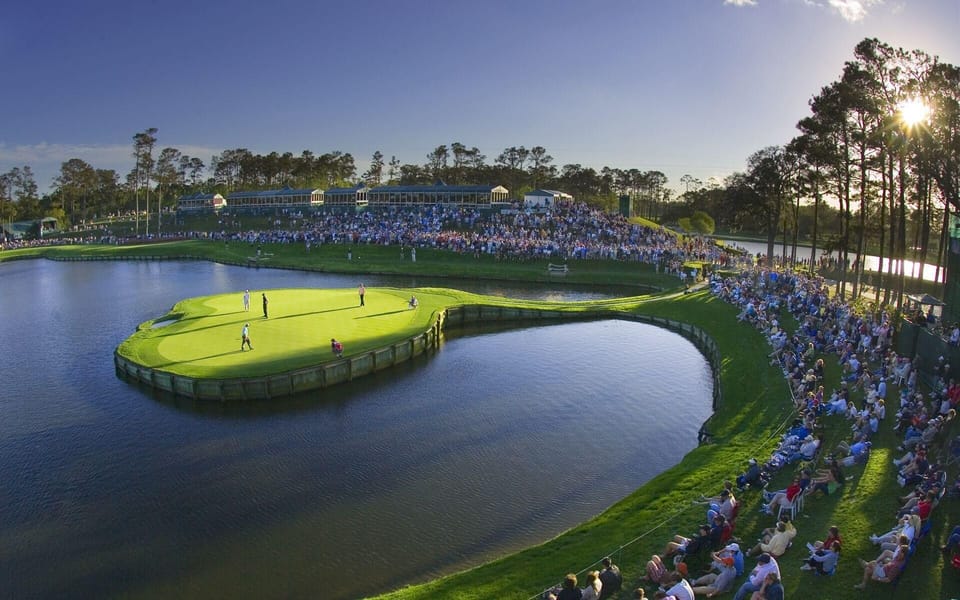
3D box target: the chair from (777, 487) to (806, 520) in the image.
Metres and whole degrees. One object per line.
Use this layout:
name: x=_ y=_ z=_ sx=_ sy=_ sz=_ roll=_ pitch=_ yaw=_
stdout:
chair: x=19.379 y=12.398 z=41.601 sx=1.544 sy=1.829 sz=1.140 roll=2 pitch=9 yaw=7
